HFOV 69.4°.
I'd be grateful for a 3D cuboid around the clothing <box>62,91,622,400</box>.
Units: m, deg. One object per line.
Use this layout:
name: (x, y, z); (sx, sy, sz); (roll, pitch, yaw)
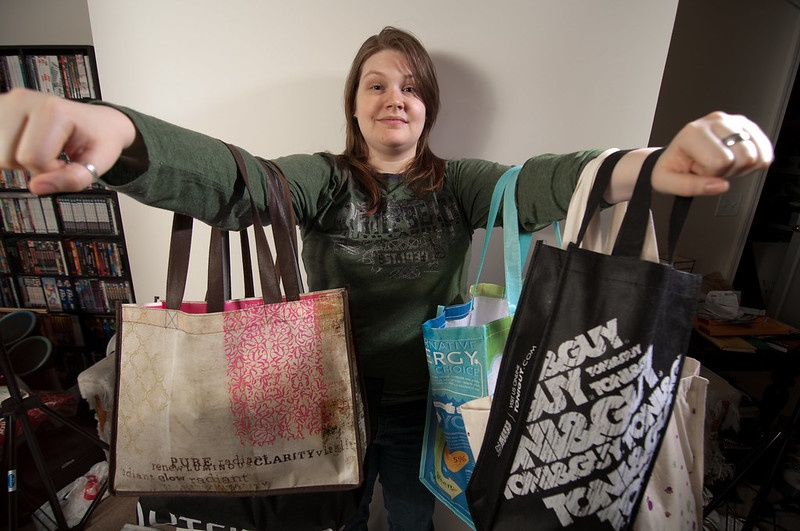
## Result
clothing: (-0.029, -0.151, 2.674); (2.436, 1.465, 0.507); (-4, 20, -25)
